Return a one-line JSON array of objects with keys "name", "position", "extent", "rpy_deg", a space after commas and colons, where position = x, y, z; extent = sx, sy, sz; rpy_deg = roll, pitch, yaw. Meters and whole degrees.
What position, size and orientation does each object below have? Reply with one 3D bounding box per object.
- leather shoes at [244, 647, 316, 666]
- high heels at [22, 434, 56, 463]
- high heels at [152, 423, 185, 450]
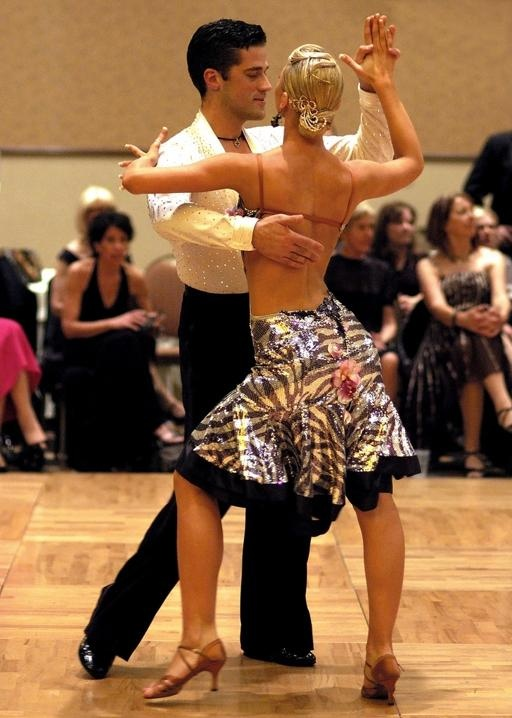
[{"name": "leather shoes", "position": [0.052, 0.608, 1.548], "extent": [0.131, 0.041, 0.042], "rpy_deg": [-4, -5, 18]}, {"name": "high heels", "position": [-0.933, 0.389, 3.213], "extent": [0.103, 0.097, 0.185], "rpy_deg": [-16, 0, -4]}, {"name": "high heels", "position": [-0.445, 0.403, 3.953], "extent": [0.083, 0.084, 0.213], "rpy_deg": [1, 10, -2]}]
